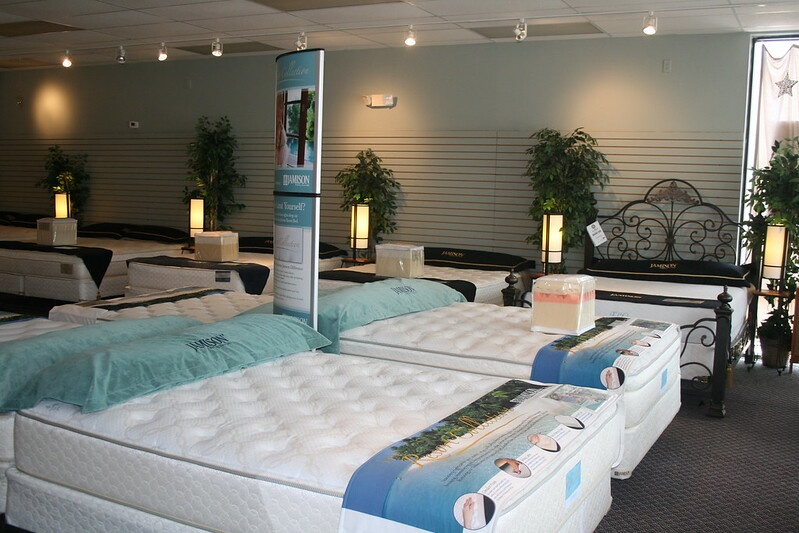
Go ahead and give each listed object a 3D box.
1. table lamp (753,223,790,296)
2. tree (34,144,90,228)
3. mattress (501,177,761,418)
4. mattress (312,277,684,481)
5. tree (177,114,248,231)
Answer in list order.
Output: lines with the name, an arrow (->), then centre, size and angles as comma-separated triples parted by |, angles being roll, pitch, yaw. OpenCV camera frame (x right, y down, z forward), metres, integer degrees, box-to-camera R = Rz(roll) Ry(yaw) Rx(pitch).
table lamp -> 4.195, -0.089, 5.592 | 0.261, 0.791, 0.535 | 9, 15, 34
tree -> -6.395, -1.717, 9.567 | 1.000, 1.080, 0.744 | -5, -2, -27
mattress -> 2.955, 0.211, 5.736 | 2.207, 1.726, 3.203 | 9, 17, 29
mattress -> 0.660, 0.576, 3.442 | 2.173, 0.483, 1.440 | 2, 5, 24
tree -> -3.127, -1.526, 8.479 | 0.735, 1.257, 0.666 | 1, 18, -35
